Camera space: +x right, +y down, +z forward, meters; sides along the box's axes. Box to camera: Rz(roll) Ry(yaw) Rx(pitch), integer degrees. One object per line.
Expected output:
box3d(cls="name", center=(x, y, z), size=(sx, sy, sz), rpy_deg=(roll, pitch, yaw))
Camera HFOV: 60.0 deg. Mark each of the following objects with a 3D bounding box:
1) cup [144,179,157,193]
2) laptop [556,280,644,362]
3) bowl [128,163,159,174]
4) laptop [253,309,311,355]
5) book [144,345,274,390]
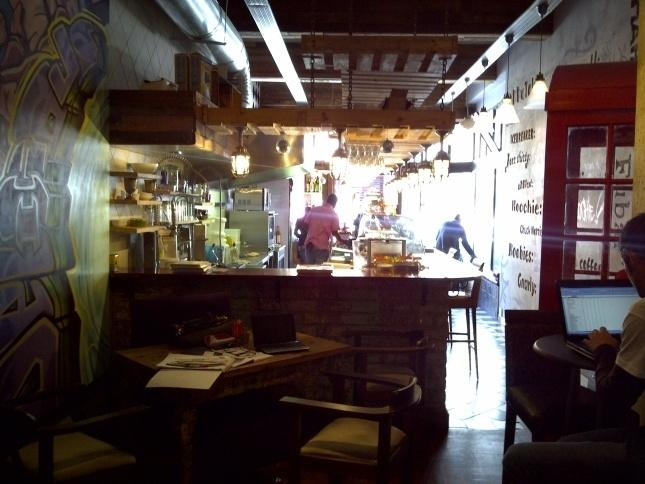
box3d(cls="cup", center=(-1.687, -0.542, 5.451), size=(0.108, 0.134, 0.114), rpy_deg=(10, 19, -4))
box3d(cls="laptop", center=(1.881, 0.458, 3.832), size=(0.545, 0.390, 0.454), rpy_deg=(2, 1, 2))
box3d(cls="bowl", center=(-1.728, -0.688, 5.333), size=(0.251, 0.129, 0.513), rpy_deg=(1, 1, -21))
box3d(cls="laptop", center=(-0.318, 0.648, 3.932), size=(0.296, 0.197, 0.259), rpy_deg=(1, 0, -29))
box3d(cls="book", center=(-0.789, 0.796, 3.549), size=(0.288, 0.083, 0.370), rpy_deg=(4, 16, 12))
